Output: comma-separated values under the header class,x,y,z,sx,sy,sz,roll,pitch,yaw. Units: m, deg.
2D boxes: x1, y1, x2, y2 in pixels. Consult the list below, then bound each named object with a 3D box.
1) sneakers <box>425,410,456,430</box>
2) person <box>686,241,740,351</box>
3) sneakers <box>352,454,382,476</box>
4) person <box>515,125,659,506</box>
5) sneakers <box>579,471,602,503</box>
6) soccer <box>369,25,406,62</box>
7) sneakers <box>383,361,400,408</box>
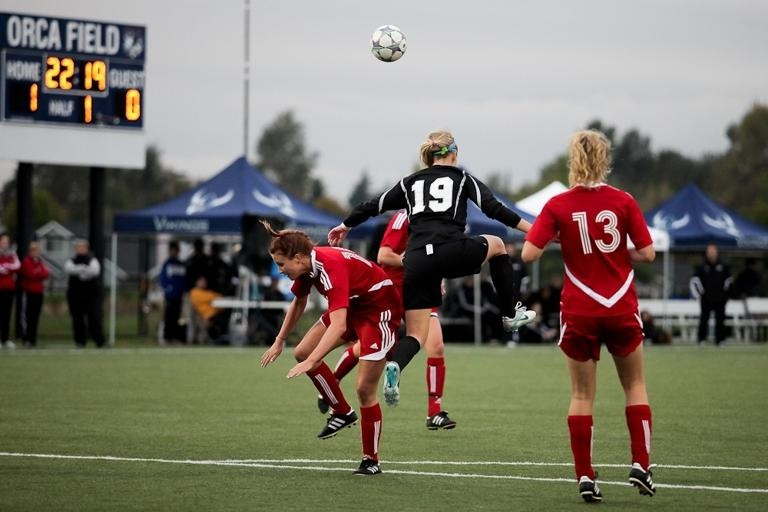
class,x,y,z,sx,sy,sz,roll,pitch,yaw
sneakers,0.632,1.790,14.792,0.383,0.203,0.145,-11,-11,37
person,6.048,0.733,25.081,0.694,1.924,1.234,5,9,13
sneakers,-0.160,2.114,13.719,0.130,0.134,0.315,-7,-15,32
person,2.074,0.552,13.291,1.341,3.516,0.887,4,9,11
sneakers,2.017,2.223,13.213,0.235,0.250,0.298,4,9,9
soccer,0.061,-2.546,16.224,0.385,0.409,0.459,3,9,-1
sneakers,0.088,1.302,13.688,0.158,0.479,0.189,0,14,4
